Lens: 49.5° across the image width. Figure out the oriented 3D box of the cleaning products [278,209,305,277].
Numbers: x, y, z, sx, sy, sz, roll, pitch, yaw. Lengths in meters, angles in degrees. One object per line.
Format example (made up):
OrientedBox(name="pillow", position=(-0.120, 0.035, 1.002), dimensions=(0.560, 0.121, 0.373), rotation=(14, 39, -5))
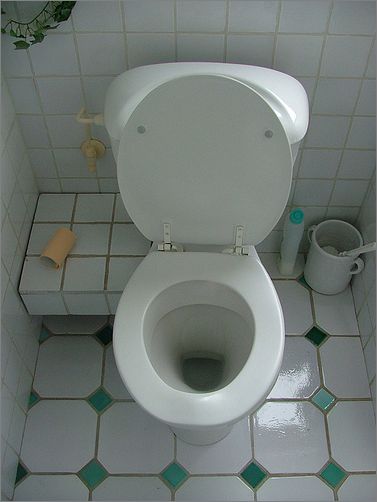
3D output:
OrientedBox(name="cleaning products", position=(0.340, -0.022, 1.371), dimensions=(0.091, 0.190, 0.100), rotation=(2, 48, 2))
